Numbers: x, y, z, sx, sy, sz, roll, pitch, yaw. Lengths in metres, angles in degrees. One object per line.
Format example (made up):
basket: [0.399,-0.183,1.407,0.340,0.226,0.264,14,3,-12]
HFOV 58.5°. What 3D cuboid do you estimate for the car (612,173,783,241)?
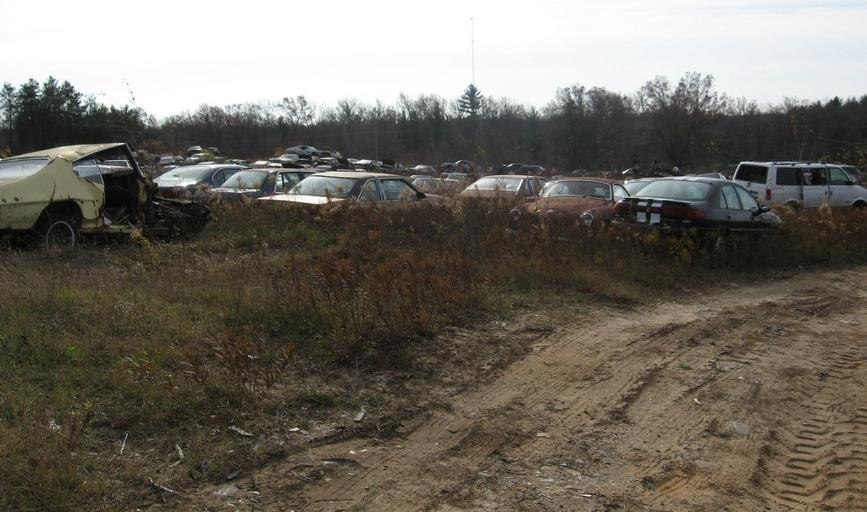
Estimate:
car: [6.418,-1.174,18.800,3.917,1.423,1.399,-4,8,-14]
